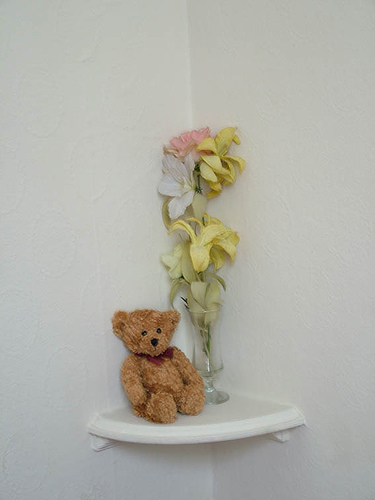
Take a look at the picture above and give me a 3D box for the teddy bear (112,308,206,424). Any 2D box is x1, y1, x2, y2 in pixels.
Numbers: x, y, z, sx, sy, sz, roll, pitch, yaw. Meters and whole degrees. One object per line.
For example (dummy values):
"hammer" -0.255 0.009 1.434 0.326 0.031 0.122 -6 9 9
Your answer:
"teddy bear" -0.080 0.295 1.351 0.235 0.212 0.265 -3 96 -13
